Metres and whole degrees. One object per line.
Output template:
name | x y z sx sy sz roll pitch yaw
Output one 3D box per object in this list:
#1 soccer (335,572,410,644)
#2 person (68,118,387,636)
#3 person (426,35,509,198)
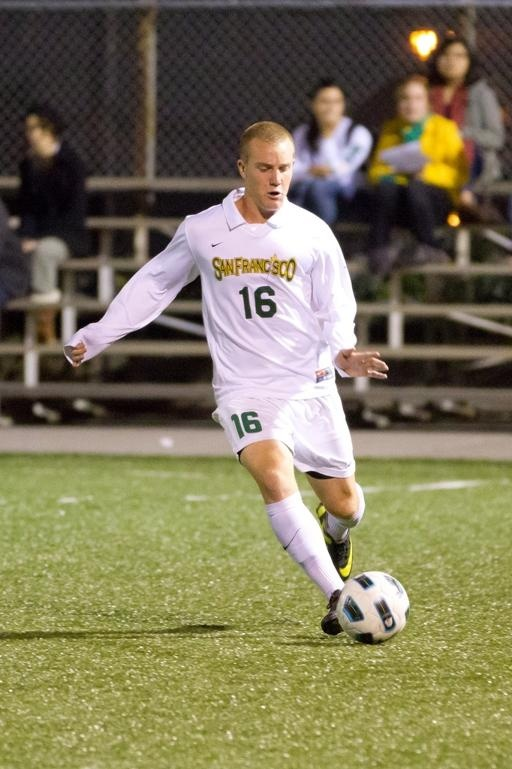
soccer | 0.285 0.585 2.445 0.228 0.168 0.171 16 43 -8
person | 0.028 -0.049 2.734 0.788 1.411 0.418 1 3 42
person | 1.650 -2.053 6.937 0.705 1.033 0.310 -2 3 -35
